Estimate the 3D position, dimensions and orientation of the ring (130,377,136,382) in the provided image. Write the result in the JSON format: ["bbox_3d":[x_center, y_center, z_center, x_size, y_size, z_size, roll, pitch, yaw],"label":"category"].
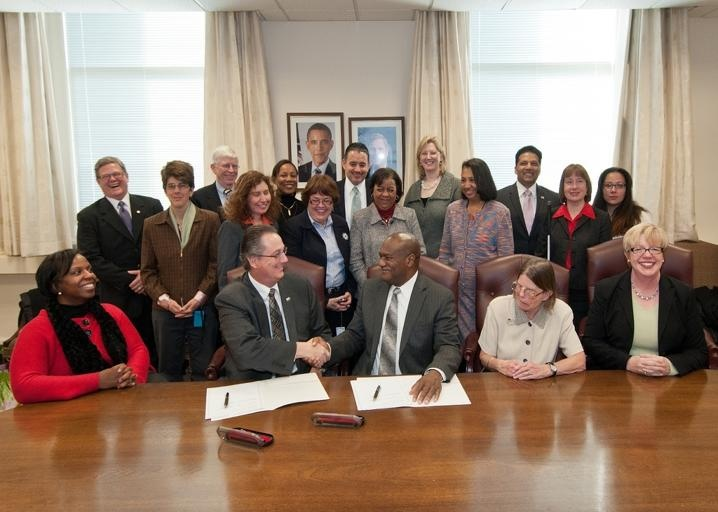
[{"bbox_3d":[-1.372,0.751,3.426,0.009,0.041,0.034,2,14,24],"label":"ring"}]

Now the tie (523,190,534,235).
[{"bbox_3d":[1.542,-0.414,5.136,0.131,0.474,0.036,0,-25,16],"label":"tie"}]

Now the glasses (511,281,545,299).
[{"bbox_3d":[1.071,0.209,3.656,0.102,0.093,0.222,-14,16,-40],"label":"glasses"}]

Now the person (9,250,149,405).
[{"bbox_3d":[-1.744,0.453,3.472,0.762,0.934,0.558,-9,14,-24],"label":"person"}]

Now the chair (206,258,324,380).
[{"bbox_3d":[-0.627,0.425,3.819,0.791,1.185,0.676,1,-7,-23],"label":"chair"}]

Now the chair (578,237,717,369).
[{"bbox_3d":[1.876,0.244,3.968,0.842,0.942,0.965,1,7,21],"label":"chair"}]

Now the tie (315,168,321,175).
[{"bbox_3d":[-0.460,-0.973,6.393,0.073,0.055,0.067,-5,12,-6],"label":"tie"}]

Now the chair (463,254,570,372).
[{"bbox_3d":[1.072,0.399,4.355,0.722,1.279,0.842,2,-4,10],"label":"chair"}]

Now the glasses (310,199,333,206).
[{"bbox_3d":[-0.307,-0.441,4.490,0.174,0.074,0.062,-4,13,-1],"label":"glasses"}]

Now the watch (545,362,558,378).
[{"bbox_3d":[1.178,0.698,3.478,0.052,0.076,0.079,-6,48,-2],"label":"watch"}]

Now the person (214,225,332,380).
[{"bbox_3d":[-0.549,0.265,3.635,0.740,0.900,0.519,-7,13,-15],"label":"person"}]

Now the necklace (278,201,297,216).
[{"bbox_3d":[-0.662,-0.433,5.149,0.134,0.060,0.135,-3,52,-16],"label":"necklace"}]

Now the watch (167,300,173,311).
[{"bbox_3d":[-1.490,0.383,4.454,0.052,0.065,0.035,7,17,40],"label":"watch"}]

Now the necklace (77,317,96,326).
[{"bbox_3d":[-1.760,0.415,3.625,0.057,0.016,0.063,6,7,4],"label":"necklace"}]

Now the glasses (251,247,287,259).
[{"bbox_3d":[-0.577,-0.019,3.642,0.211,0.059,0.078,-9,14,-26],"label":"glasses"}]

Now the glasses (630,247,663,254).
[{"bbox_3d":[1.881,-0.038,3.676,0.194,0.047,0.057,0,13,14],"label":"glasses"}]
